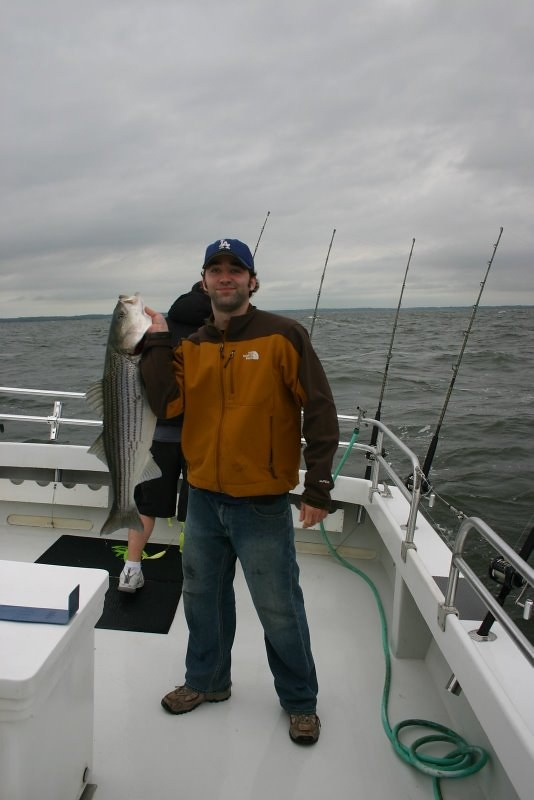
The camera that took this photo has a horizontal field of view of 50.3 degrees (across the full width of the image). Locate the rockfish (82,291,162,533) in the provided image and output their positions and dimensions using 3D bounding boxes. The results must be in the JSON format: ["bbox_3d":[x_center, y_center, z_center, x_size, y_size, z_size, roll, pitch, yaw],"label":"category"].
[{"bbox_3d":[-0.527,0.048,1.820,0.174,0.842,0.515,4,12,-3],"label":"rockfish"}]

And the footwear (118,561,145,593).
[{"bbox_3d":[-0.706,0.929,2.974,0.083,0.096,0.209,2,0,-1],"label":"footwear"}]

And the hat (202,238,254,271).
[{"bbox_3d":[-0.115,-0.469,1.827,0.170,0.106,0.164,-2,10,-26],"label":"hat"}]
